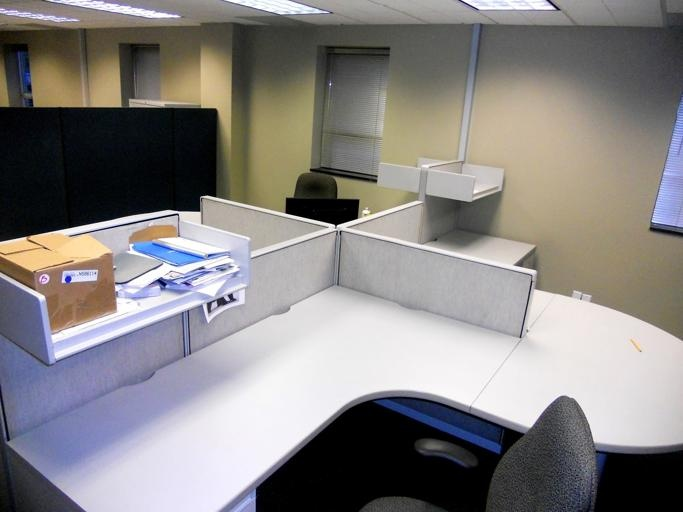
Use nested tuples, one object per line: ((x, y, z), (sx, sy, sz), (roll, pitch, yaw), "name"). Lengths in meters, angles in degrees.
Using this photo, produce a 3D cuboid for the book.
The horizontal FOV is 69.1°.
((-0.685, 0.047, 2.010), (0.307, 0.131, 0.313), (17, 23, 27), "book")
